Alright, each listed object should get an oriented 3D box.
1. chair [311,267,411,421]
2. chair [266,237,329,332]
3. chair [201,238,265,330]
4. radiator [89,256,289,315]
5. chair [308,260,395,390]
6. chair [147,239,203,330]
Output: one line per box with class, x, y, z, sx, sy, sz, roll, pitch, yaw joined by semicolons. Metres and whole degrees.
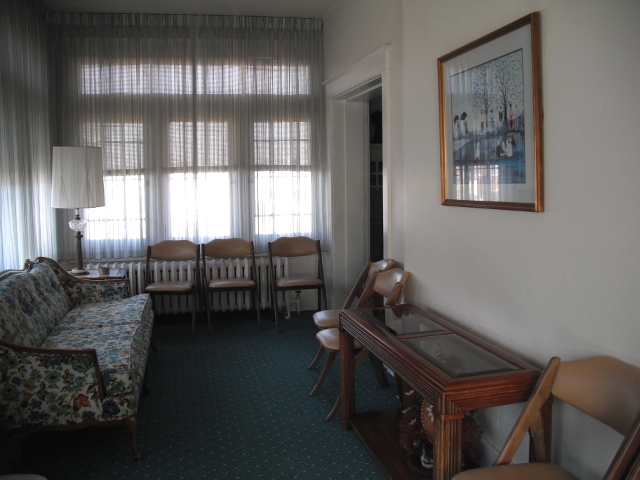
chair;0.307;0.664;3.837;0.627;0.962;0.650;-1;13;-45
chair;-0.296;0.474;5.555;0.564;1.001;0.672;-4;1;-2
chair;-1.026;0.469;5.585;0.560;0.976;0.609;-2;3;-19
radiator;-1.376;0.470;5.823;1.617;0.804;0.239;0;28;0
chair;0.175;0.597;4.401;0.902;1.393;0.687;0;4;-12
chair;-1.654;0.485;5.431;0.607;0.917;0.617;-2;6;-25
